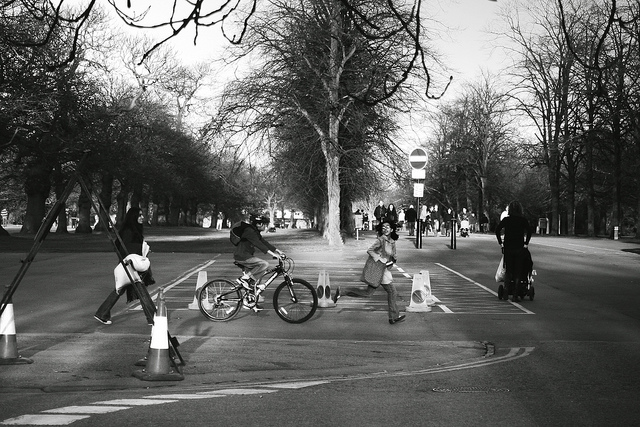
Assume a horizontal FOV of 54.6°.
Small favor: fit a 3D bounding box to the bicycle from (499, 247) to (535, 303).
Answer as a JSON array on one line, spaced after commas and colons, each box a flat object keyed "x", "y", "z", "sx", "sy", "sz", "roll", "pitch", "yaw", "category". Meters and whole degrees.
[{"x": 5.158, "y": 1.541, "z": 16.284, "sx": 0.997, "sy": 1.383, "sz": 0.972, "roll": 3, "pitch": 4, "yaw": 24, "category": "bicycle"}]

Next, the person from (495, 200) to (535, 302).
[{"x": 4.993, "y": 0.986, "z": 15.934, "sx": 0.872, "sy": 2.683, "sz": 1.017, "roll": -1, "pitch": 0, "yaw": 16, "category": "person"}]

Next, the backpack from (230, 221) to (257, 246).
[{"x": -1.796, "y": 0.424, "z": 13.924, "sx": 0.538, "sy": 0.571, "sz": 0.442, "roll": 6, "pitch": 0, "yaw": 10, "category": "backpack"}]

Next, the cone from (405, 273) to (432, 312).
[{"x": 2.299, "y": 1.848, "z": 14.484, "sx": 0.625, "sy": 0.918, "sz": 0.453, "roll": -1, "pitch": 0, "yaw": -5, "category": "cone"}]

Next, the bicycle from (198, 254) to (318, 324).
[{"x": -1.340, "y": 1.598, "z": 13.341, "sx": 2.541, "sy": 1.526, "sz": 1.157, "roll": 2, "pitch": -8, "yaw": -3, "category": "bicycle"}]

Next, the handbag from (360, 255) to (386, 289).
[{"x": 1.136, "y": 1.243, "z": 13.316, "sx": 0.548, "sy": 0.711, "sz": 0.231, "roll": -1, "pitch": 0, "yaw": 38, "category": "handbag"}]

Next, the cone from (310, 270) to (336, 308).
[{"x": 0.110, "y": 1.827, "z": 15.237, "sx": 0.684, "sy": 0.792, "sz": 0.665, "roll": -2, "pitch": 3, "yaw": -40, "category": "cone"}]
